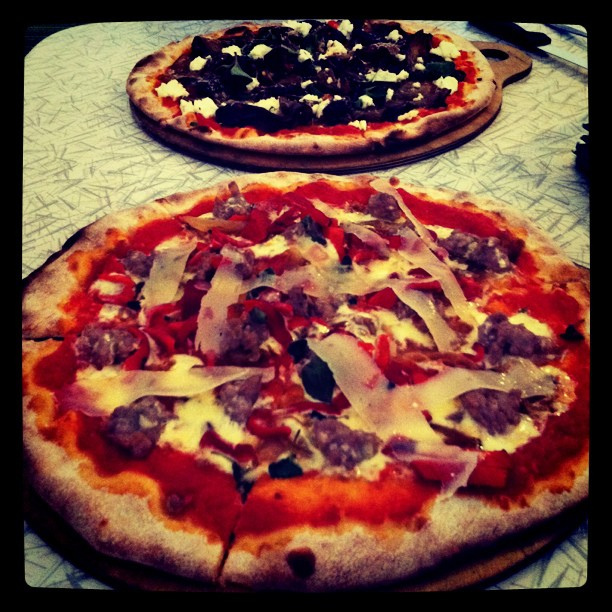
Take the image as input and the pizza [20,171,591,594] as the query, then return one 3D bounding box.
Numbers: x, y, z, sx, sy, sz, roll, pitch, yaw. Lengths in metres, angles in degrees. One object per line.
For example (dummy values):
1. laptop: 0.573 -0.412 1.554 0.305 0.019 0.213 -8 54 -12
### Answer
1. pizza: 0.004 0.117 1.681 1.498 0.465 1.017 0 40 -3
